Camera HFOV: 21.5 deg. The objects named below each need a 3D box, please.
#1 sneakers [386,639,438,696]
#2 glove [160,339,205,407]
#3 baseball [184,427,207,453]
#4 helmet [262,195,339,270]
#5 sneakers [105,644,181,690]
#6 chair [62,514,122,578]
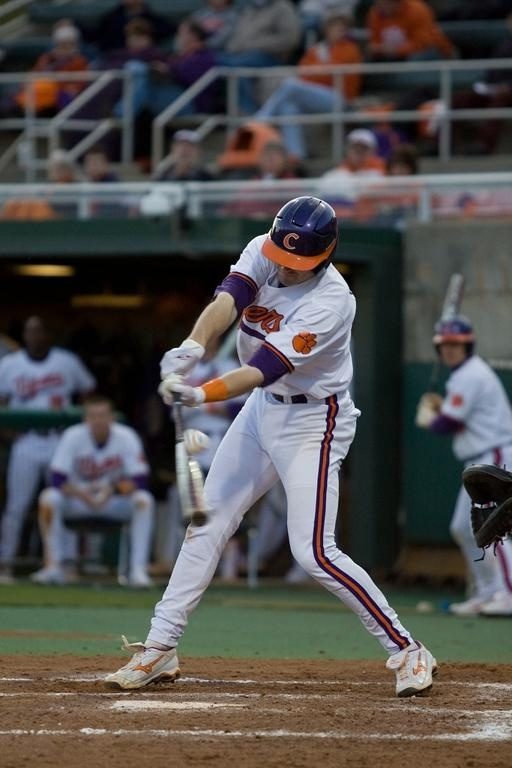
[{"bbox_3d":[0.492,0.892,4.285,0.151,0.150,0.171,-2,6,5],"label":"sneakers"},{"bbox_3d":[-0.217,-0.049,4.146,0.119,0.085,0.202,-15,40,30],"label":"glove"},{"bbox_3d":[-0.173,0.163,4.017,0.066,0.070,0.062,-9,10,32],"label":"baseball"},{"bbox_3d":[0.136,-0.481,4.321,0.239,0.241,0.263,-2,6,2],"label":"helmet"},{"bbox_3d":[-0.350,0.890,4.284,0.280,0.145,0.100,-4,3,-38],"label":"sneakers"},{"bbox_3d":[-0.994,1.058,8.607,0.380,0.386,0.460,-3,-16,-12],"label":"chair"}]
